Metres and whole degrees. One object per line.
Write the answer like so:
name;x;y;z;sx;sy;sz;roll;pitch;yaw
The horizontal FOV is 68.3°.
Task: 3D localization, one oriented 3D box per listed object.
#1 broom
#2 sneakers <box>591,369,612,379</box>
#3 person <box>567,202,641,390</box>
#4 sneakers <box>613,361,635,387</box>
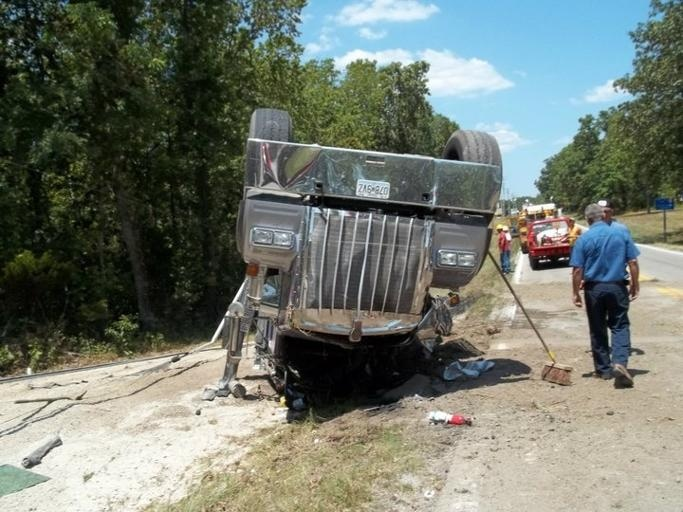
broom;4.546;1.302;12.104;0.455;4.409;1.039;-33;14;15
sneakers;3.444;1.551;6.652;0.141;0.070;0.193;2;-8;1
person;3.425;0.591;6.562;0.738;2.017;0.906;-5;5;32
sneakers;3.506;1.470;6.248;0.226;0.301;0.204;-7;4;20
